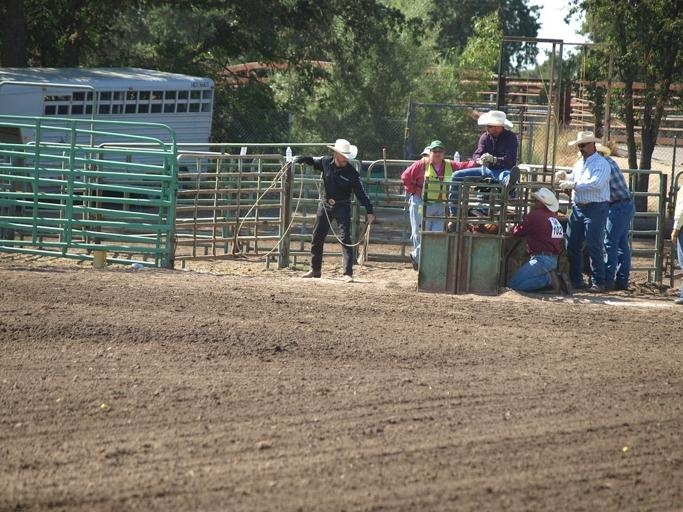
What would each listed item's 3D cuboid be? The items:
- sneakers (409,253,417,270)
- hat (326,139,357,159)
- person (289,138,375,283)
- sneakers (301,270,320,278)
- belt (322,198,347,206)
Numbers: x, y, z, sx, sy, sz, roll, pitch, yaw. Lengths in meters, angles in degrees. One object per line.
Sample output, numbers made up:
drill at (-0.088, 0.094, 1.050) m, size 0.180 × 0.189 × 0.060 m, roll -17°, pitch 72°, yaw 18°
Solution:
sneakers at (1.294, 0.153, 19.246) m, size 0.097 × 0.329 × 0.136 m, roll 8°, pitch 37°, yaw 32°
hat at (0.019, -1.887, 18.445) m, size 0.412 × 0.179 × 0.403 m, roll 22°, pitch 14°, yaw -49°
person at (-0.071, -0.779, 18.547) m, size 1.246 × 2.367 × 0.585 m, roll 2°, pitch 2°, yaw 4°
sneakers at (-0.503, 0.315, 18.637) m, size 0.302 × 0.159 × 0.119 m, roll 2°, pitch -1°, yaw -3°
belt at (-0.086, -0.884, 18.513) m, size 0.430 × 0.128 × 0.154 m, roll 3°, pitch 2°, yaw -2°
